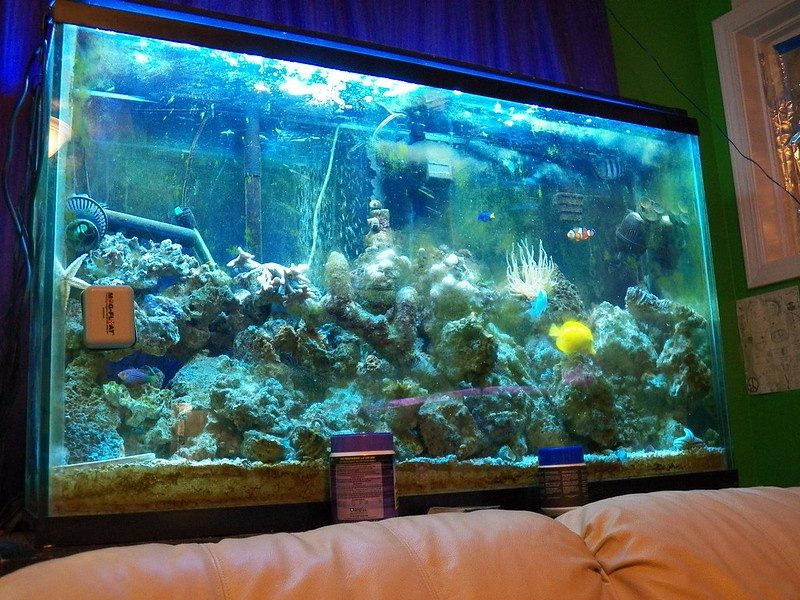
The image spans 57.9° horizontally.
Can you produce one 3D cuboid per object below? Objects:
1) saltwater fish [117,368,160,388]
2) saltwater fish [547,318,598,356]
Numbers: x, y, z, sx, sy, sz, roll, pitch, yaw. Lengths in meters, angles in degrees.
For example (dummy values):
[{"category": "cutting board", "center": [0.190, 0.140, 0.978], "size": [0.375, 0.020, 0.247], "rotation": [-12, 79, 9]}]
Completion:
[{"category": "saltwater fish", "center": [-0.732, 0.217, 2.013], "size": [0.107, 0.057, 0.021], "rotation": [6, -30, -17]}, {"category": "saltwater fish", "center": [0.594, 0.132, 2.520], "size": [0.113, 0.085, 0.021], "rotation": [12, -18, -17]}]
